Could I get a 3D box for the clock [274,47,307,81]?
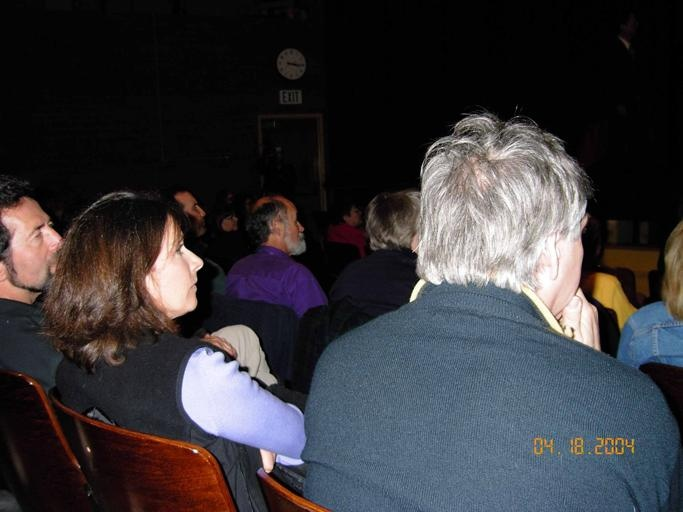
[{"bbox_3d":[-0.752,-2.922,8.431,0.498,0.461,0.085,-3,8,-30],"label":"clock"}]
